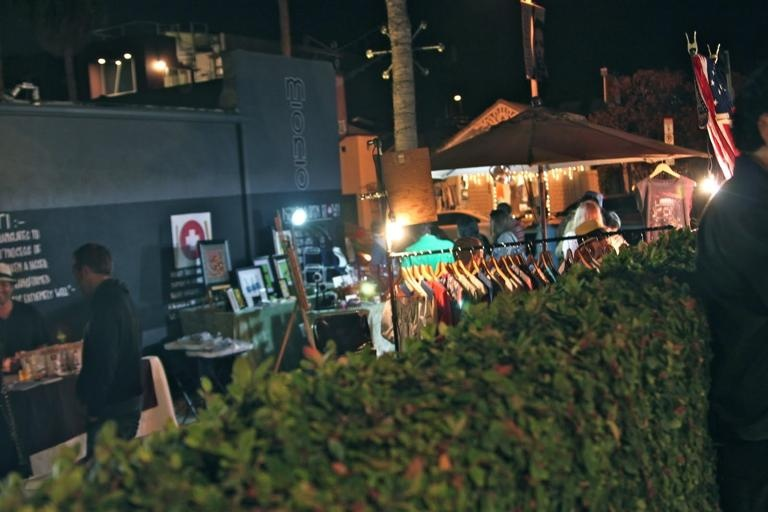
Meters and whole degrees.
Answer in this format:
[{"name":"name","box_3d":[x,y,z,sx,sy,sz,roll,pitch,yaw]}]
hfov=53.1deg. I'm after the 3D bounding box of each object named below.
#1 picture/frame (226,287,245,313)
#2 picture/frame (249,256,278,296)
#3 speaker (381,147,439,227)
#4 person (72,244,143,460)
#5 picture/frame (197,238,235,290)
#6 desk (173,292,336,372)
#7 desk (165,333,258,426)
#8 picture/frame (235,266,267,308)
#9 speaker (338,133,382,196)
[{"name":"picture/frame","box_3d":[-1.991,0.594,10.424,0.227,0.294,0.332,-11,13,-24]},{"name":"picture/frame","box_3d":[-1.746,0.323,11.184,0.037,0.558,0.489,-15,8,21]},{"name":"speaker","box_3d":[0.328,-0.876,9.933,0.639,0.993,0.442,-6,11,0]},{"name":"person","box_3d":[-2.984,1.010,8.262,0.733,2.209,0.737,-10,12,-19]},{"name":"picture/frame","box_3d":[-2.366,0.114,10.878,0.061,0.677,0.600,-11,-3,30]},{"name":"desk","box_3d":[-2.144,0.651,10.843,1.197,0.938,1.881,0,1,28]},{"name":"desk","box_3d":[-2.340,1.518,10.057,0.925,1.159,1.563,-11,13,-25]},{"name":"picture/frame","box_3d":[-1.851,0.406,10.876,0.525,0.535,0.039,-13,-3,33]},{"name":"speaker","box_3d":[-0.766,-2.547,24.899,1.485,2.561,1.397,-1,9,-4]}]
